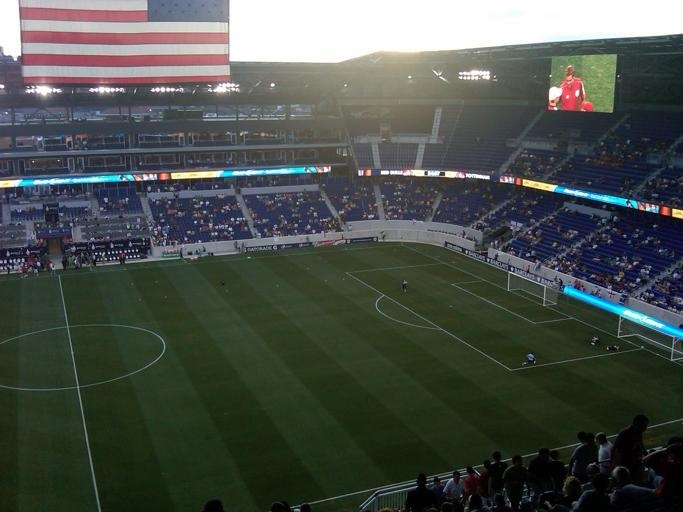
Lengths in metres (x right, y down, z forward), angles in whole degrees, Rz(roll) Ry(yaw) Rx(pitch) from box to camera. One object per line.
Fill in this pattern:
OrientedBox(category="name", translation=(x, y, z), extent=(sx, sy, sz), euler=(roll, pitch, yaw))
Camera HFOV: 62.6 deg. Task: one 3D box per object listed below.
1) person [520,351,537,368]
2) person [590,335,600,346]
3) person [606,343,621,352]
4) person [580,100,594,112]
OrientedBox(category="person", translation=(13.562, 7.641, 40.429), extent=(1.028, 0.354, 0.735), euler=(-33, 32, 5))
OrientedBox(category="person", translation=(19.877, 6.699, 44.082), extent=(0.682, 0.512, 1.673), euler=(-7, 1, 24))
OrientedBox(category="person", translation=(20.725, 7.096, 42.923), extent=(0.432, 0.796, 1.662), euler=(-6, -6, 41))
OrientedBox(category="person", translation=(26.993, -16.418, 61.371), extent=(1.194, 1.234, 1.332), euler=(2, 13, -6))
